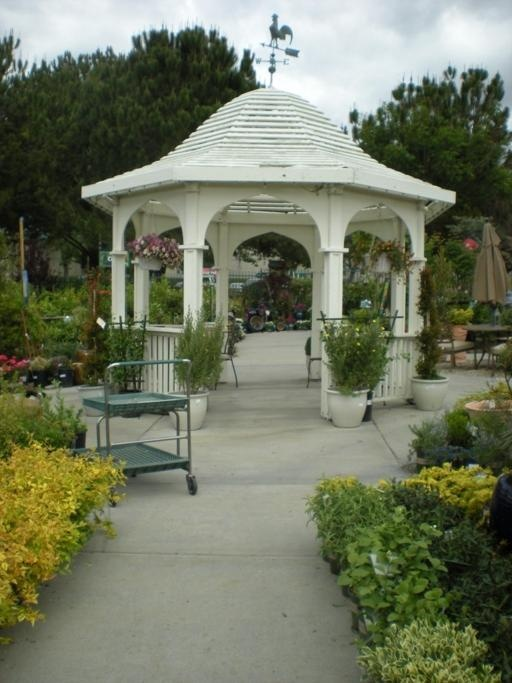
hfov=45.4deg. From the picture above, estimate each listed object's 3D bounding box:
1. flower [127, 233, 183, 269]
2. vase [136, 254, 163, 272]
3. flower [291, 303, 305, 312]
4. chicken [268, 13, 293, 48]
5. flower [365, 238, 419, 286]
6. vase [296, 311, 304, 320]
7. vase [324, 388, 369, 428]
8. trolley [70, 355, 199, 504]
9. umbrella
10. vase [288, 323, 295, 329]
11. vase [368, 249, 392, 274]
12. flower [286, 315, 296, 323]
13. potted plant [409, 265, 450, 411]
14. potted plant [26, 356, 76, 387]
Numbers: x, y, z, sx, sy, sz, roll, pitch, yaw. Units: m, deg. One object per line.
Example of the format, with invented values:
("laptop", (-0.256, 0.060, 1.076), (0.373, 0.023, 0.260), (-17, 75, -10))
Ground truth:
("flower", (-1.436, -1.234, 8.593), (0.534, 0.467, 0.538), (-1, 4, -38))
("vase", (-1.521, -1.078, 8.690), (0.235, 0.282, 0.300), (5, 5, 41))
("flower", (1.753, -1.372, 25.707), (0.292, 0.306, 0.307), (6, 8, 40))
("chicken", (0.354, -4.741, 9.286), (0.334, 0.606, 0.671), (-1, 3, 7))
("flower", (1.889, -1.130, 8.674), (0.538, 0.665, 0.614), (0, 1, 0))
("vase", (1.815, -0.995, 25.504), (0.195, 0.311, 0.383), (1, 3, 43))
("vase", (1.093, 0.814, 7.276), (0.390, 0.375, 0.425), (0, 0, -20))
("trolley", (-0.981, 0.643, 5.007), (0.897, 1.134, 0.807), (5, 7, 38))
("umbrella", (4.676, -1.317, 12.203), (0.647, 1.969, 2.025), (0, 3, 22))
("vase", (1.405, -0.550, 24.987), (0.183, 0.424, 0.204), (3, 2, 25))
("vase", (1.736, -1.091, 8.697), (0.257, 0.481, 0.279), (0, -3, -2))
("flower", (1.403, -0.833, 25.213), (0.243, 0.326, 0.413), (0, 3, 26))
("potted plant", (2.296, 0.007, 8.205), (0.455, 1.942, 0.703), (0, 2, 23))
("potted plant", (-3.399, 0.533, 9.983), (0.776, 0.458, 0.460), (-1, -1, -31))
